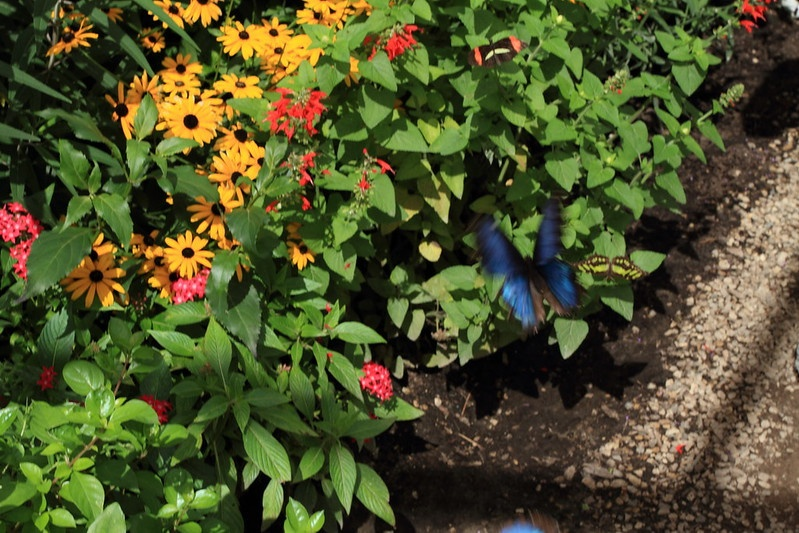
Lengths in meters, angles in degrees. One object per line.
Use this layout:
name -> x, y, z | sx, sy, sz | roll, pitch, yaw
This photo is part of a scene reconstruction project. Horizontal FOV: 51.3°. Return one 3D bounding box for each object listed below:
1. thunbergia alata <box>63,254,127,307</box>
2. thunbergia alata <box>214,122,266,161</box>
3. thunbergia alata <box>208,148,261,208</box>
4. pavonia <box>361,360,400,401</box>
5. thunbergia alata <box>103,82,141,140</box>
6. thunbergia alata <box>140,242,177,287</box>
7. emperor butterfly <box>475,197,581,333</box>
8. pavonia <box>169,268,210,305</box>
thunbergia alata -> -1.531, 0.036, 4.203 | 0.298, 0.297, 0.035 | -49, 30, 5
thunbergia alata -> -0.860, -0.666, 4.433 | 0.307, 0.282, 0.097 | 9, 77, 66
thunbergia alata -> -0.874, -0.488, 4.359 | 0.289, 0.262, 0.069 | -50, -3, -14
pavonia -> -0.144, 0.653, 4.649 | 0.208, 0.200, 0.063 | -27, -2, -28
thunbergia alata -> -1.480, -0.833, 4.438 | 0.187, 0.299, 0.205 | -7, 25, -11
thunbergia alata -> -1.243, -0.042, 4.348 | 0.189, 0.071, 0.196 | 6, 37, 32
emperor butterfly -> 0.715, -0.008, 4.461 | 0.560, 0.711, 0.594 | -18, 16, 24
pavonia -> -1.076, 0.109, 4.257 | 0.070, 0.169, 0.205 | 69, -143, -83
